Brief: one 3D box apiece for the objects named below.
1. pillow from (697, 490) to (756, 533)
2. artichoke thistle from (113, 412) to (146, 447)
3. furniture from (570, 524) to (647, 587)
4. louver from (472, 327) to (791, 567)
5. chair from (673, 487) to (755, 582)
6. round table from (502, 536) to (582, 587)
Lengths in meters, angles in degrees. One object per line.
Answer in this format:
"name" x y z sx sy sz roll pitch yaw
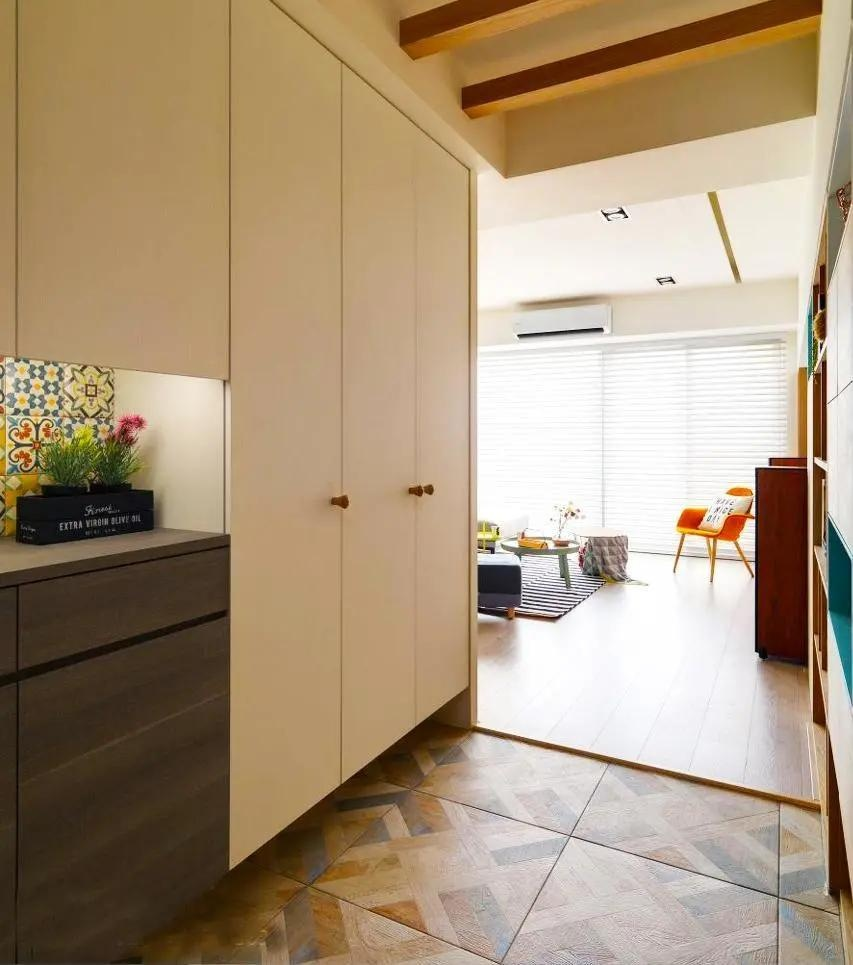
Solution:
"pillow" 2.646 0.225 6.222 0.428 0.343 0.614 1 3 25
"artichoke thistle" -0.706 -0.129 1.677 0.059 0.078 0.074 6 19 6
"furniture" 1.531 0.616 6.055 0.618 0.332 0.394 5 4 37
"louver" 2.089 -0.391 6.800 2.357 1.646 0.080 2 0 32
"chair" 2.554 0.418 6.225 0.613 0.794 0.641 3 4 0
"round table" 0.926 0.620 5.448 0.657 0.389 0.456 -2 3 -33
